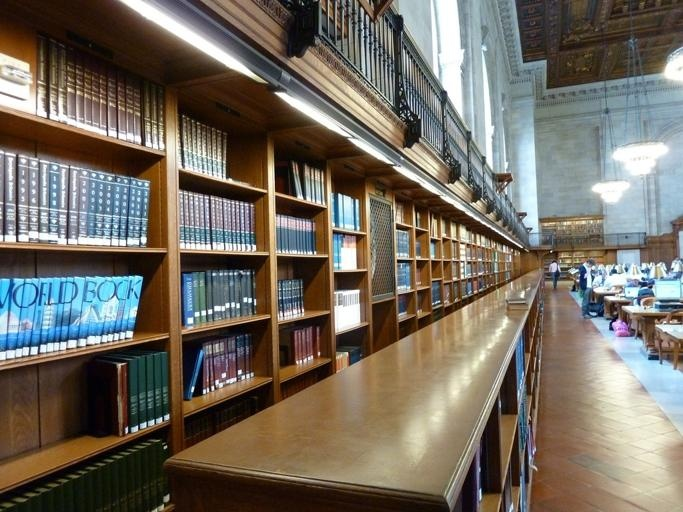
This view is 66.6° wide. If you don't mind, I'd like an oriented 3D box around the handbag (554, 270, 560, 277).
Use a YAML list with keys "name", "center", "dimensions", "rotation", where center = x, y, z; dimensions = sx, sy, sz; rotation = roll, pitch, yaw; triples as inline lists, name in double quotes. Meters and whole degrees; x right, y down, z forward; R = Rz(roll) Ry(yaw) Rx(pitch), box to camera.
- name: "handbag"
  center: [9.609, 0.780, 23.231]
  dimensions: [0.159, 0.238, 0.316]
  rotation: [21, 18, 28]
